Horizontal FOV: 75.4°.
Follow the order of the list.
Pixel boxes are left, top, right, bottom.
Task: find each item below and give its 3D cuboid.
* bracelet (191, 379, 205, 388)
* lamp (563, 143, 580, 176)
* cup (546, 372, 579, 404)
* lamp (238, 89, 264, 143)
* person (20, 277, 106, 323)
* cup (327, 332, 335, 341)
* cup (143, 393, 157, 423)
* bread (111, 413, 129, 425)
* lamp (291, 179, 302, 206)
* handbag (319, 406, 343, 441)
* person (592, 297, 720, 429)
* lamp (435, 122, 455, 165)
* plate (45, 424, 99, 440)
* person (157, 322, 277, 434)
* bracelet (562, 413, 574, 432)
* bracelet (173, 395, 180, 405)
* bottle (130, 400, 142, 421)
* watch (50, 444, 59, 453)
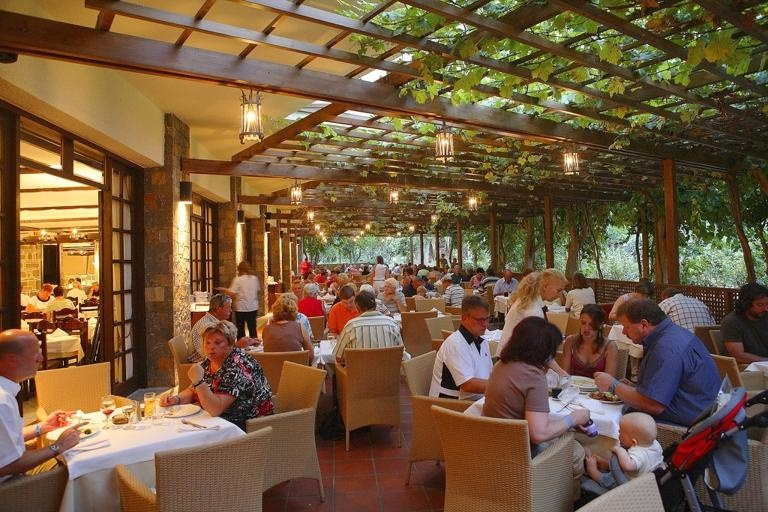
[{"bbox_3d":[-1.660,1.133,4.440,0.103,0.070,0.078,-4,8,-12],"label":"bracelet"},{"bbox_3d":[3.003,-1.543,7.947,0.220,0.410,0.433,0,8,16],"label":"lamp"},{"bbox_3d":[1.608,1.242,4.719,0.386,0.333,0.227,-4,-15,9],"label":"cup"},{"bbox_3d":[-1.675,-1.811,6.260,0.308,0.689,0.276,-3,15,-16],"label":"lamp"},{"bbox_3d":[-6.856,0.968,10.417,1.254,0.710,1.201,0,1,17],"label":"person"},{"bbox_3d":[-0.812,1.208,7.518,0.106,0.095,0.101,0,-7,0],"label":"cup"},{"bbox_3d":[-2.120,1.358,4.492,0.120,0.198,0.221,-7,9,-25],"label":"cup"},{"bbox_3d":[-2.355,1.438,4.401,0.112,0.071,0.195,-9,10,-42],"label":"bread"},{"bbox_3d":[-1.992,-1.439,11.255,0.216,0.496,0.555,-5,8,-13],"label":"lamp"},{"bbox_3d":[-0.649,2.075,6.230,0.402,0.382,0.355,4,-3,-1],"label":"handbag"},{"bbox_3d":[2.496,1.144,4.610,1.081,1.437,1.087,-4,5,17],"label":"person"},{"bbox_3d":[0.853,-1.618,6.973,0.231,0.498,0.316,-2,9,3],"label":"lamp"},{"bbox_3d":[-2.616,1.479,4.167,0.331,0.060,0.227,0,-4,-34],"label":"plate"},{"bbox_3d":[-1.603,1.264,4.852,1.081,1.134,0.880,-2,-2,-22],"label":"person"},{"bbox_3d":[1.482,1.327,3.960,0.105,0.072,0.103,11,10,30],"label":"bracelet"},{"bbox_3d":[-2.023,1.401,4.828,0.069,0.046,0.067,-1,2,-25],"label":"bracelet"},{"bbox_3d":[-2.197,1.369,4.381,0.086,0.157,0.154,-6,9,-24],"label":"bottle"},{"bbox_3d":[-2.514,1.467,3.785,0.056,0.061,0.037,14,-52,-35],"label":"watch"}]
